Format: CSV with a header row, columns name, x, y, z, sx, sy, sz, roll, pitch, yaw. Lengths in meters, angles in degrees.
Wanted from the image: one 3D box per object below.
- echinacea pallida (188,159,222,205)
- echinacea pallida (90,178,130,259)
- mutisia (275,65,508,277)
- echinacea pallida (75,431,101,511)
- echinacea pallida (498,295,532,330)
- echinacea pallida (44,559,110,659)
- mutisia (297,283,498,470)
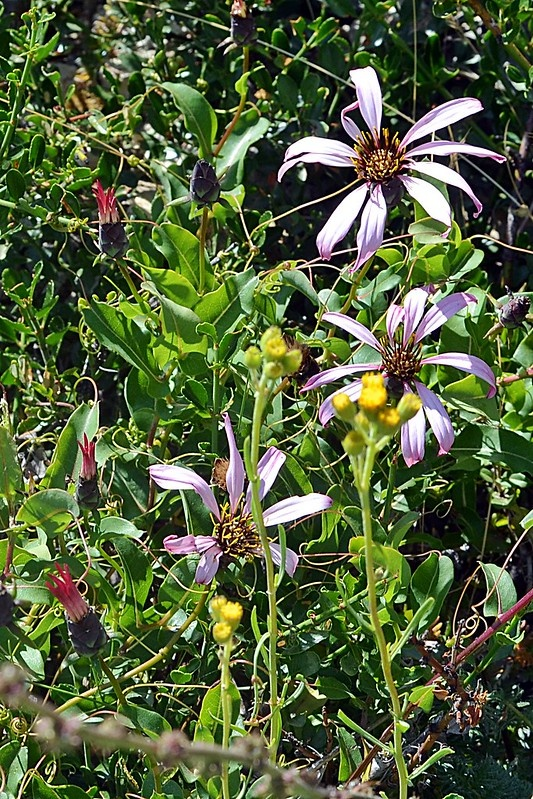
name,x,y,z,sx,sy,sz,roll,pitch,yaw
echinacea pallida,-0.072,-0.249,0.850,0.030,0.064,0.028,-20,46,-22
echinacea pallida,-0.178,-0.219,0.885,0.051,0.094,0.045,-9,17,-36
mutisia,0.158,-0.268,0.912,0.243,0.214,0.364,14,42,14
echinacea pallida,-0.186,0.080,0.755,0.031,0.071,0.028,-1,4,-8
echinacea pallida,0.291,-0.102,0.854,0.031,0.042,0.019,45,46,2
echinacea pallida,-0.166,0.188,0.657,0.036,0.035,0.077,-15,68,-38
mutisia,0.161,-0.060,0.837,0.225,0.214,0.079,19,16,0
